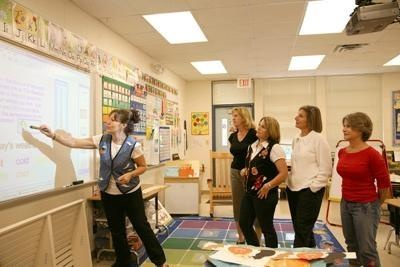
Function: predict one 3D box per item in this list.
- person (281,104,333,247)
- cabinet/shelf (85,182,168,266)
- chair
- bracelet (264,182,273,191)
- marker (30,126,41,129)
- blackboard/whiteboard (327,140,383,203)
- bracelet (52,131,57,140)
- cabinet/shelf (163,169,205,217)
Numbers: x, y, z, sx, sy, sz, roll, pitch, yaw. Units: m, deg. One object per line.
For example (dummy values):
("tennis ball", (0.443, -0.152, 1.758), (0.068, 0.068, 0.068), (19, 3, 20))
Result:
("person", (1.209, 0.464, 3.047), (0.392, 1.539, 0.300), (-1, 1, 0))
("cabinet/shelf", (-1.101, 1.323, 4.613), (0.925, 0.826, 0.908), (0, 5, 10))
("chair", (0.527, 1.077, 5.984), (0.760, 1.230, 0.797), (0, -1, 0))
("bracelet", (0.773, 0.581, 3.052), (0.110, 0.045, 0.081), (-37, 27, -27))
("marker", (-1.797, -0.069, 2.968), (0.092, 0.024, 0.052), (3, -1, -29))
("blackboard/whiteboard", (2.877, 0.558, 5.100), (0.977, 1.061, 0.942), (-8, -26, 33))
("bracelet", (-1.692, 0.019, 3.160), (0.040, 0.107, 0.098), (0, 15, -19))
("cabinet/shelf", (-0.358, 1.374, 6.306), (0.880, 0.822, 0.863), (-1, -1, 9))
